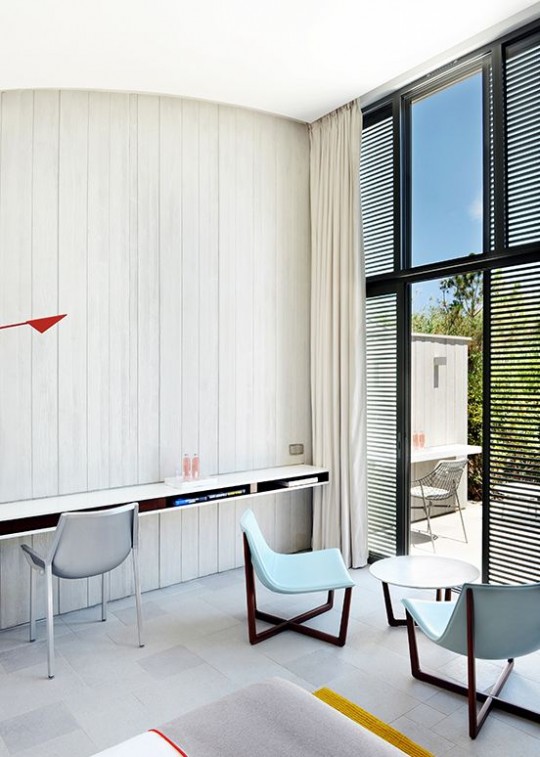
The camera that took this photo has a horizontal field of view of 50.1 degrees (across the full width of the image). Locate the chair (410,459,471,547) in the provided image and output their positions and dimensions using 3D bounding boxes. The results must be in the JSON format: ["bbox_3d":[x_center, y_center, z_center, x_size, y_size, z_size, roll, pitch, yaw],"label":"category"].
[{"bbox_3d":[1.413,0.971,4.810,0.470,1.025,0.524,3,-4,-36],"label":"chair"}]

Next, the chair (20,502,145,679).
[{"bbox_3d":[-0.930,0.930,2.794,0.514,0.692,0.632,-1,0,-37],"label":"chair"}]

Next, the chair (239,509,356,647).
[{"bbox_3d":[0.114,0.977,2.899,0.401,0.687,0.502,-6,4,-2],"label":"chair"}]

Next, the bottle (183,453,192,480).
[{"bbox_3d":[-0.479,0.522,3.347,0.052,0.133,0.112,0,0,-10],"label":"bottle"}]
